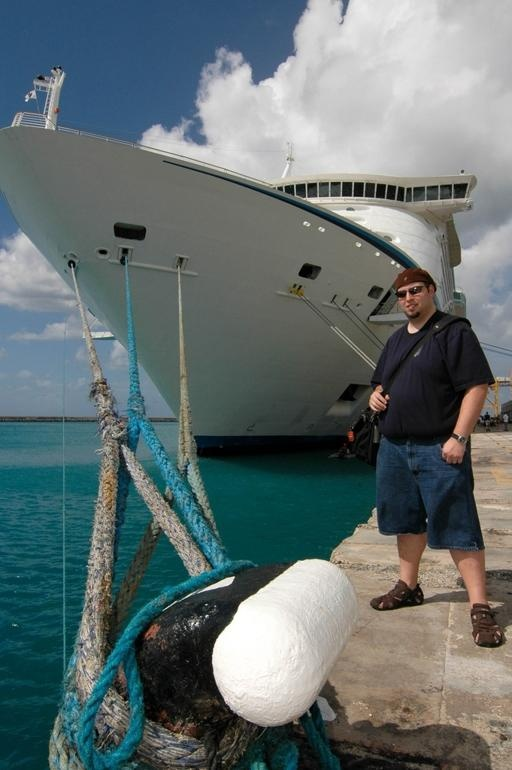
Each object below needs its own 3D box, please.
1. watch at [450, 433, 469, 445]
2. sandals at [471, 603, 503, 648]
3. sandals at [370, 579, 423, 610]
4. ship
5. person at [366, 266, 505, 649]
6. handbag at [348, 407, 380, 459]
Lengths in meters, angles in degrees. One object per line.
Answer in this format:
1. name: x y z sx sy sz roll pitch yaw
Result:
1. watch: 0.696 0.187 1.959 0.057 0.033 0.059 15 6 10
2. sandals: 0.736 0.778 1.838 0.065 0.060 0.149 -5 -11 10
3. sandals: 0.549 0.820 2.237 0.249 0.100 0.082 2 -11 -16
4. ship: -0.562 -0.905 8.376 5.955 4.792 3.237 -5 1 -34
5. person: 0.644 0.212 2.107 0.346 1.229 0.642 -5 1 -33
6. handbag: 0.531 0.218 2.654 0.124 0.220 0.236 -2 10 2
